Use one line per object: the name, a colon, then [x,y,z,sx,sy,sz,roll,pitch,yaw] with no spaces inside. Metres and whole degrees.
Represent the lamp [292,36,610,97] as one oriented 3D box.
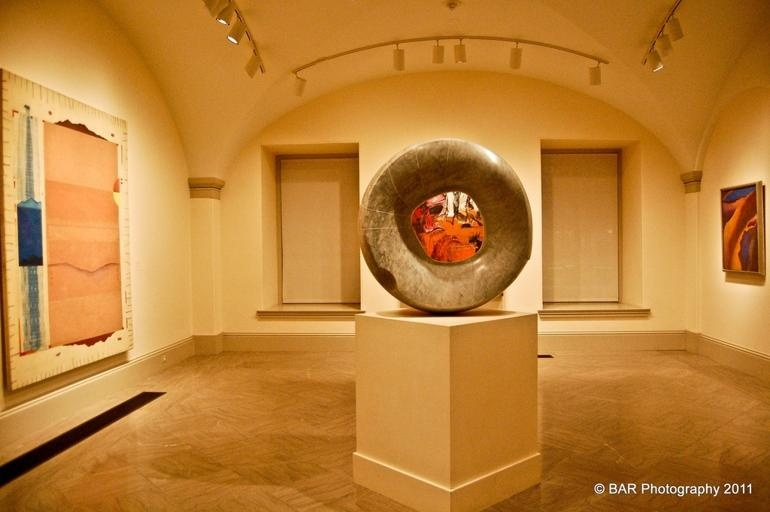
lamp: [0.866,-2.621,7.152,4.269,0.714,0.866,0,11,6]
